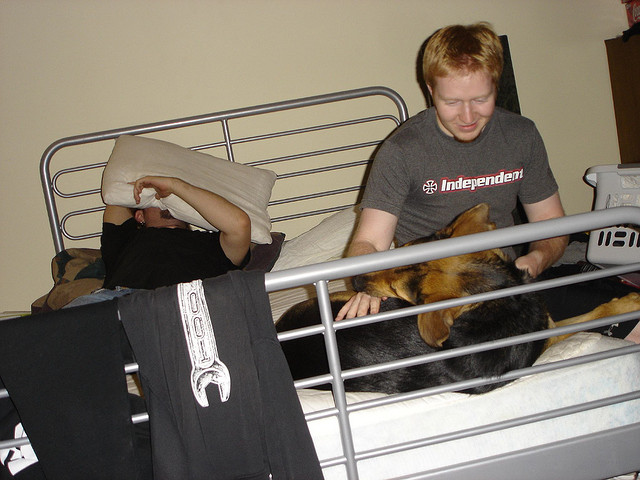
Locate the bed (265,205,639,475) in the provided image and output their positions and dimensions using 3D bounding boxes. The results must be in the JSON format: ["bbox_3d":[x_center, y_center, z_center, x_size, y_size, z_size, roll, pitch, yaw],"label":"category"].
[{"bbox_3d":[0.379,0.418,1.616,1.020,0.915,0.438,-8,-46,-4],"label":"bed"}]

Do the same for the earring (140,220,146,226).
[{"bbox_3d":[-0.851,-0.086,2.480,0.027,0.022,0.006,1,8,8],"label":"earring"}]

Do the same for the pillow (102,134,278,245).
[{"bbox_3d":[-0.611,-0.168,2.506,0.790,0.472,0.219,13,-49,-19],"label":"pillow"}]

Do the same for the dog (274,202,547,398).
[{"bbox_3d":[0.217,0.167,1.637,0.584,0.393,0.289,36,-62,-9],"label":"dog"}]

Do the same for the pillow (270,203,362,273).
[{"bbox_3d":[0.001,0.009,2.392,0.429,0.244,0.128,-22,-47,35],"label":"pillow"}]
